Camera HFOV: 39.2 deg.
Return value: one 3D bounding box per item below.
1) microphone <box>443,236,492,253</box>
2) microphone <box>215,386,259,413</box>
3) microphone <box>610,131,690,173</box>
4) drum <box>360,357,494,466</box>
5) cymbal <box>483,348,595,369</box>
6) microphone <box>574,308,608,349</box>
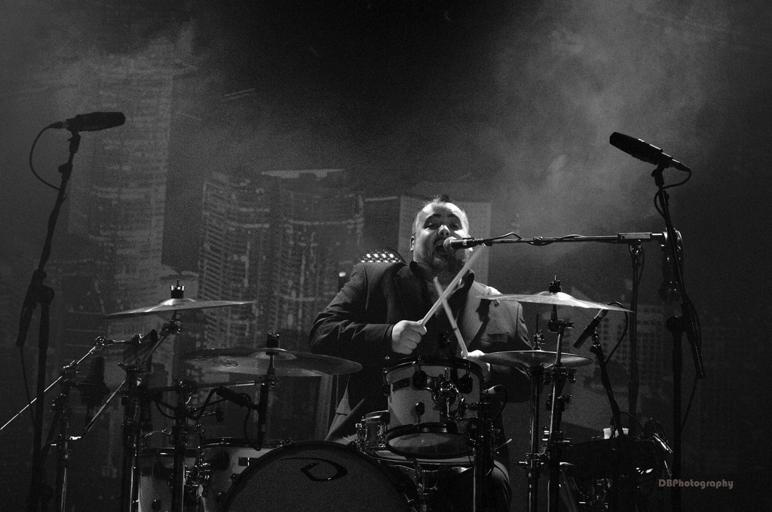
[{"bbox_3d":[0.599,-0.085,8.533,0.433,0.101,0.124,-1,-10,34],"label":"microphone"},{"bbox_3d":[-1.149,1.080,8.279,0.200,0.177,0.306,-22,-31,40],"label":"microphone"},{"bbox_3d":[2.172,-0.842,8.882,0.741,0.156,0.178,22,-28,7],"label":"microphone"},{"bbox_3d":[0.227,1.210,8.264,0.998,0.436,0.801,-18,-36,37],"label":"drum"},{"bbox_3d":[1.142,0.829,8.404,0.874,0.167,0.376,-3,-22,6],"label":"cymbal"},{"bbox_3d":[1.683,0.602,8.894,0.089,0.420,0.109,41,-3,0],"label":"microphone"}]
